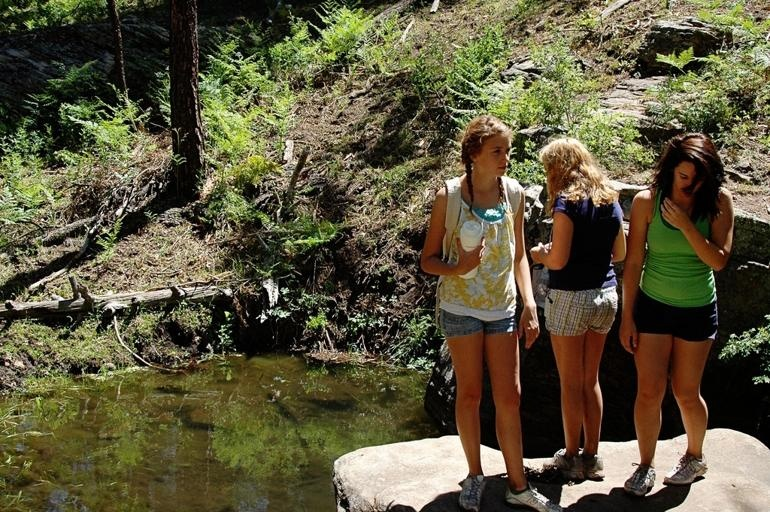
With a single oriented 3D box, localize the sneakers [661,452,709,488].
[{"bbox_3d":[3.696,2.581,8.725,0.656,0.299,0.252,-12,7,-26],"label":"sneakers"}]
